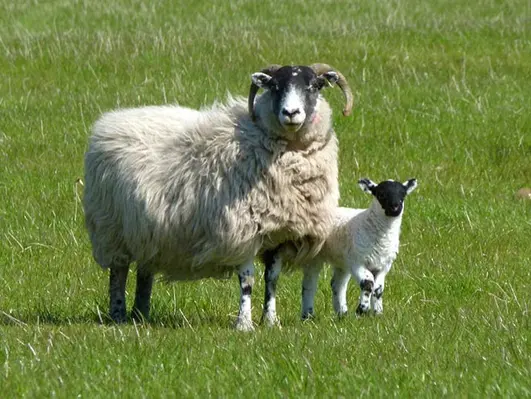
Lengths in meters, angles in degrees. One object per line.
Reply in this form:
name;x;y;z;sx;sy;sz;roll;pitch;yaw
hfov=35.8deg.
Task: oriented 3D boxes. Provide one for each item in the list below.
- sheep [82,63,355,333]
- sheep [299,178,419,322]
sheep;-0.719;0.122;11.674;4.109;3.581;2.321;0;2;32
sheep;1.202;0.736;11.086;0.668;1.995;2.238;6;-5;-23
